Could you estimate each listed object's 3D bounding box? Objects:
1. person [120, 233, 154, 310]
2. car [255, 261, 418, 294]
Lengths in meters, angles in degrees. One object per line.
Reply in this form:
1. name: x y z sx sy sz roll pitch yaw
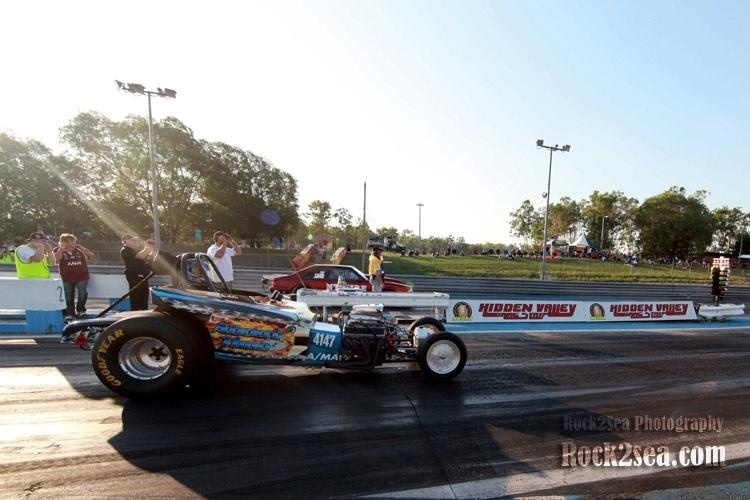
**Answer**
1. person: -5.413 0.510 12.394 0.877 2.310 0.850 1 -3 -40
2. car: -1.267 0.865 16.576 3.753 1.121 1.723 0 -3 -4
